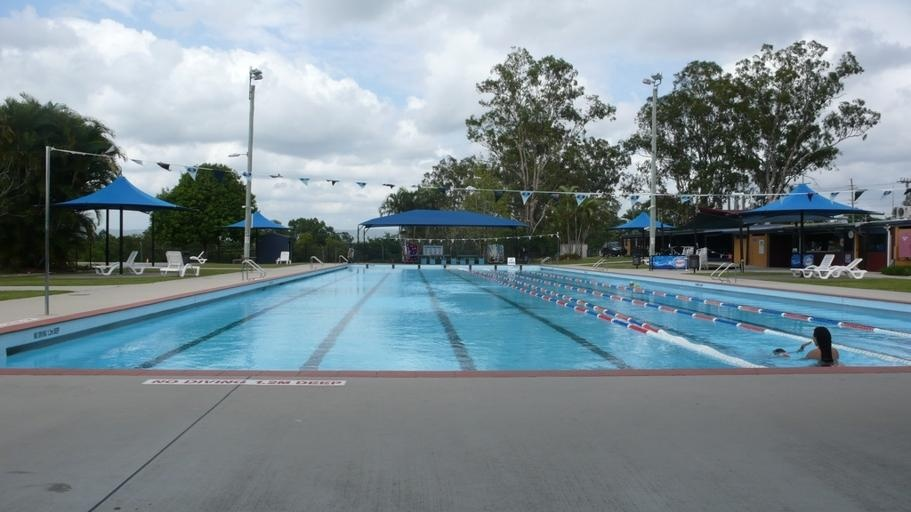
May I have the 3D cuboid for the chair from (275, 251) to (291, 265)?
[{"bbox_3d":[-11.122,0.059,42.344,0.738,0.941,1.004,0,-2,-3],"label":"chair"}]

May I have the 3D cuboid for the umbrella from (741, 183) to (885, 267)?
[{"bbox_3d":[17.284,-1.150,32.129,4.382,2.437,4.897,-2,6,6],"label":"umbrella"}]

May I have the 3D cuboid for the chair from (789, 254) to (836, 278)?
[{"bbox_3d":[15.740,0.416,28.633,1.988,0.851,1.071,1,-3,-31],"label":"chair"}]
